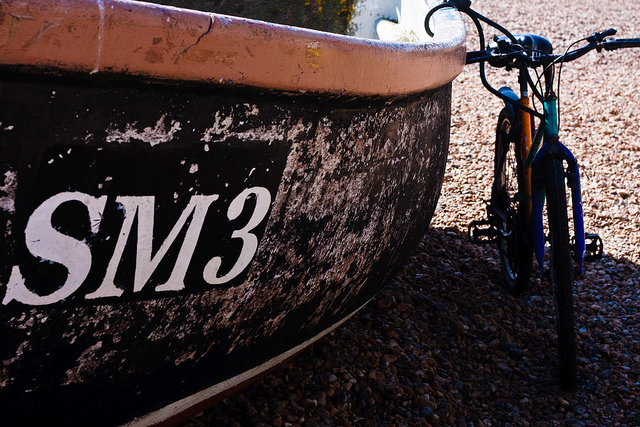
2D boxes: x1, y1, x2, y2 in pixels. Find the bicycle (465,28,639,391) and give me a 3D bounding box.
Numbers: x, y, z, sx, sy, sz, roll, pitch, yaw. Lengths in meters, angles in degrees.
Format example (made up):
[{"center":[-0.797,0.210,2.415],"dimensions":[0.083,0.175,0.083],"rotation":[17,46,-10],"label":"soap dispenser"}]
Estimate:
[{"center":[0.857,-0.140,2.612],"dimensions":[0.666,1.191,1.123],"rotation":[9,29,11],"label":"bicycle"}]
